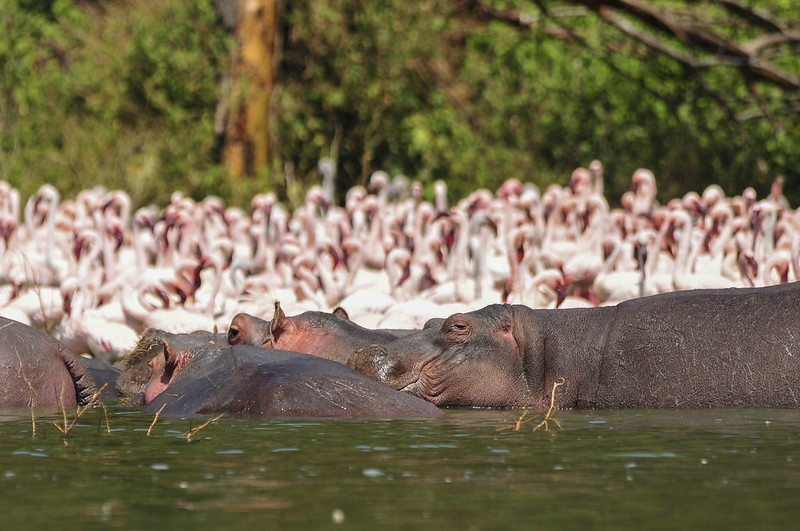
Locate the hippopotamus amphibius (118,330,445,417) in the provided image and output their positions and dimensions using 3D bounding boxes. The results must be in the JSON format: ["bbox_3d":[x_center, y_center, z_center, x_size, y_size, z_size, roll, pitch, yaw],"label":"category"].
[{"bbox_3d":[-1.754,1.423,19.803,4.096,0.949,1.488,6,14,23],"label":"hippopotamus amphibius"}]
